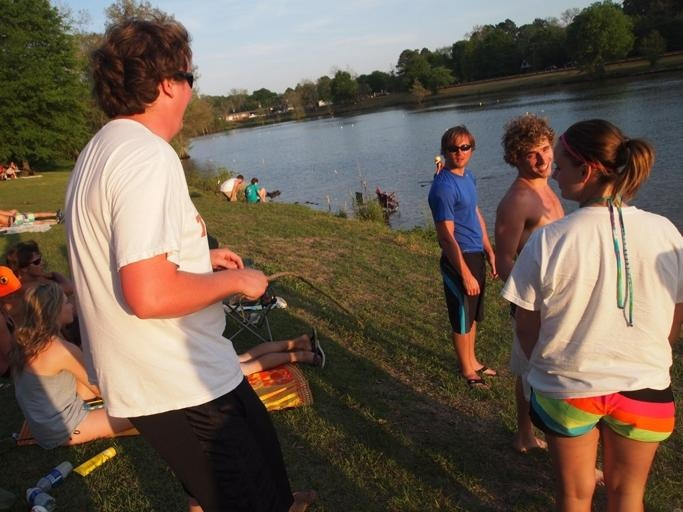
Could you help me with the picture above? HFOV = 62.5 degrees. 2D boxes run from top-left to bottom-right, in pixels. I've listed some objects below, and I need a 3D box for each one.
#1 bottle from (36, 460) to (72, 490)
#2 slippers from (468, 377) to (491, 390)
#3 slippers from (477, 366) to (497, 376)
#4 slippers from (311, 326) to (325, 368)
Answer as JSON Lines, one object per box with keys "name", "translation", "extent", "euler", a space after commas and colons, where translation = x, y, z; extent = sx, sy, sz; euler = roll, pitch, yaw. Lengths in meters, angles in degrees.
{"name": "bottle", "translation": [-2.242, 1.702, 4.380], "extent": [0.113, 0.071, 0.211], "euler": [19, 32, 32]}
{"name": "slippers", "translation": [1.485, 1.358, 5.989], "extent": [0.226, 0.040, 0.243], "euler": [-3, 14, -13]}
{"name": "slippers", "translation": [1.634, 1.296, 6.323], "extent": [0.247, 0.066, 0.094], "euler": [1, 27, -16]}
{"name": "slippers", "translation": [-0.227, 0.959, 5.998], "extent": [0.115, 0.424, 0.149], "euler": [-2, -19, -34]}
